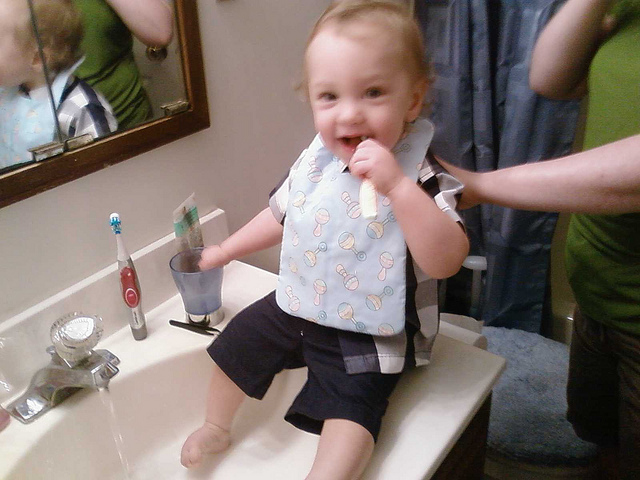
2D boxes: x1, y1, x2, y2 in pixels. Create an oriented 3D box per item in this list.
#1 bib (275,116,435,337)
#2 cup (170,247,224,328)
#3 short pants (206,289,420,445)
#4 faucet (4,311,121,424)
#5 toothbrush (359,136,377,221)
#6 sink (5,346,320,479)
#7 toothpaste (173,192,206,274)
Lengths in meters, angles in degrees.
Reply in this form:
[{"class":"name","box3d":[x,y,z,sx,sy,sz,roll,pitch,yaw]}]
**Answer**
[{"class":"bib","box3d":[0.073,-0.013,0.943,0.331,0.475,0.208,13,14,28]},{"class":"cup","box3d":[-0.278,0.119,1.213,0.112,0.159,0.104,-1,32,0]},{"class":"short pants","box3d":[0.006,0.221,1.054,0.357,0.122,0.336,36,63,26]},{"class":"faucet","box3d":[-0.525,0.254,1.032,0.226,0.153,0.132,-22,34,-12]},{"class":"toothbrush","box3d":[0.081,-0.074,0.851,0.021,0.076,0.019,-3,0,-2]},{"class":"sink","box3d":[-0.306,0.331,1.044,0.357,0.130,0.320,13,41,37]},{"class":"toothpaste","box3d":[-0.305,-0.013,1.205,0.061,0.185,0.133,-4,28,3]}]
